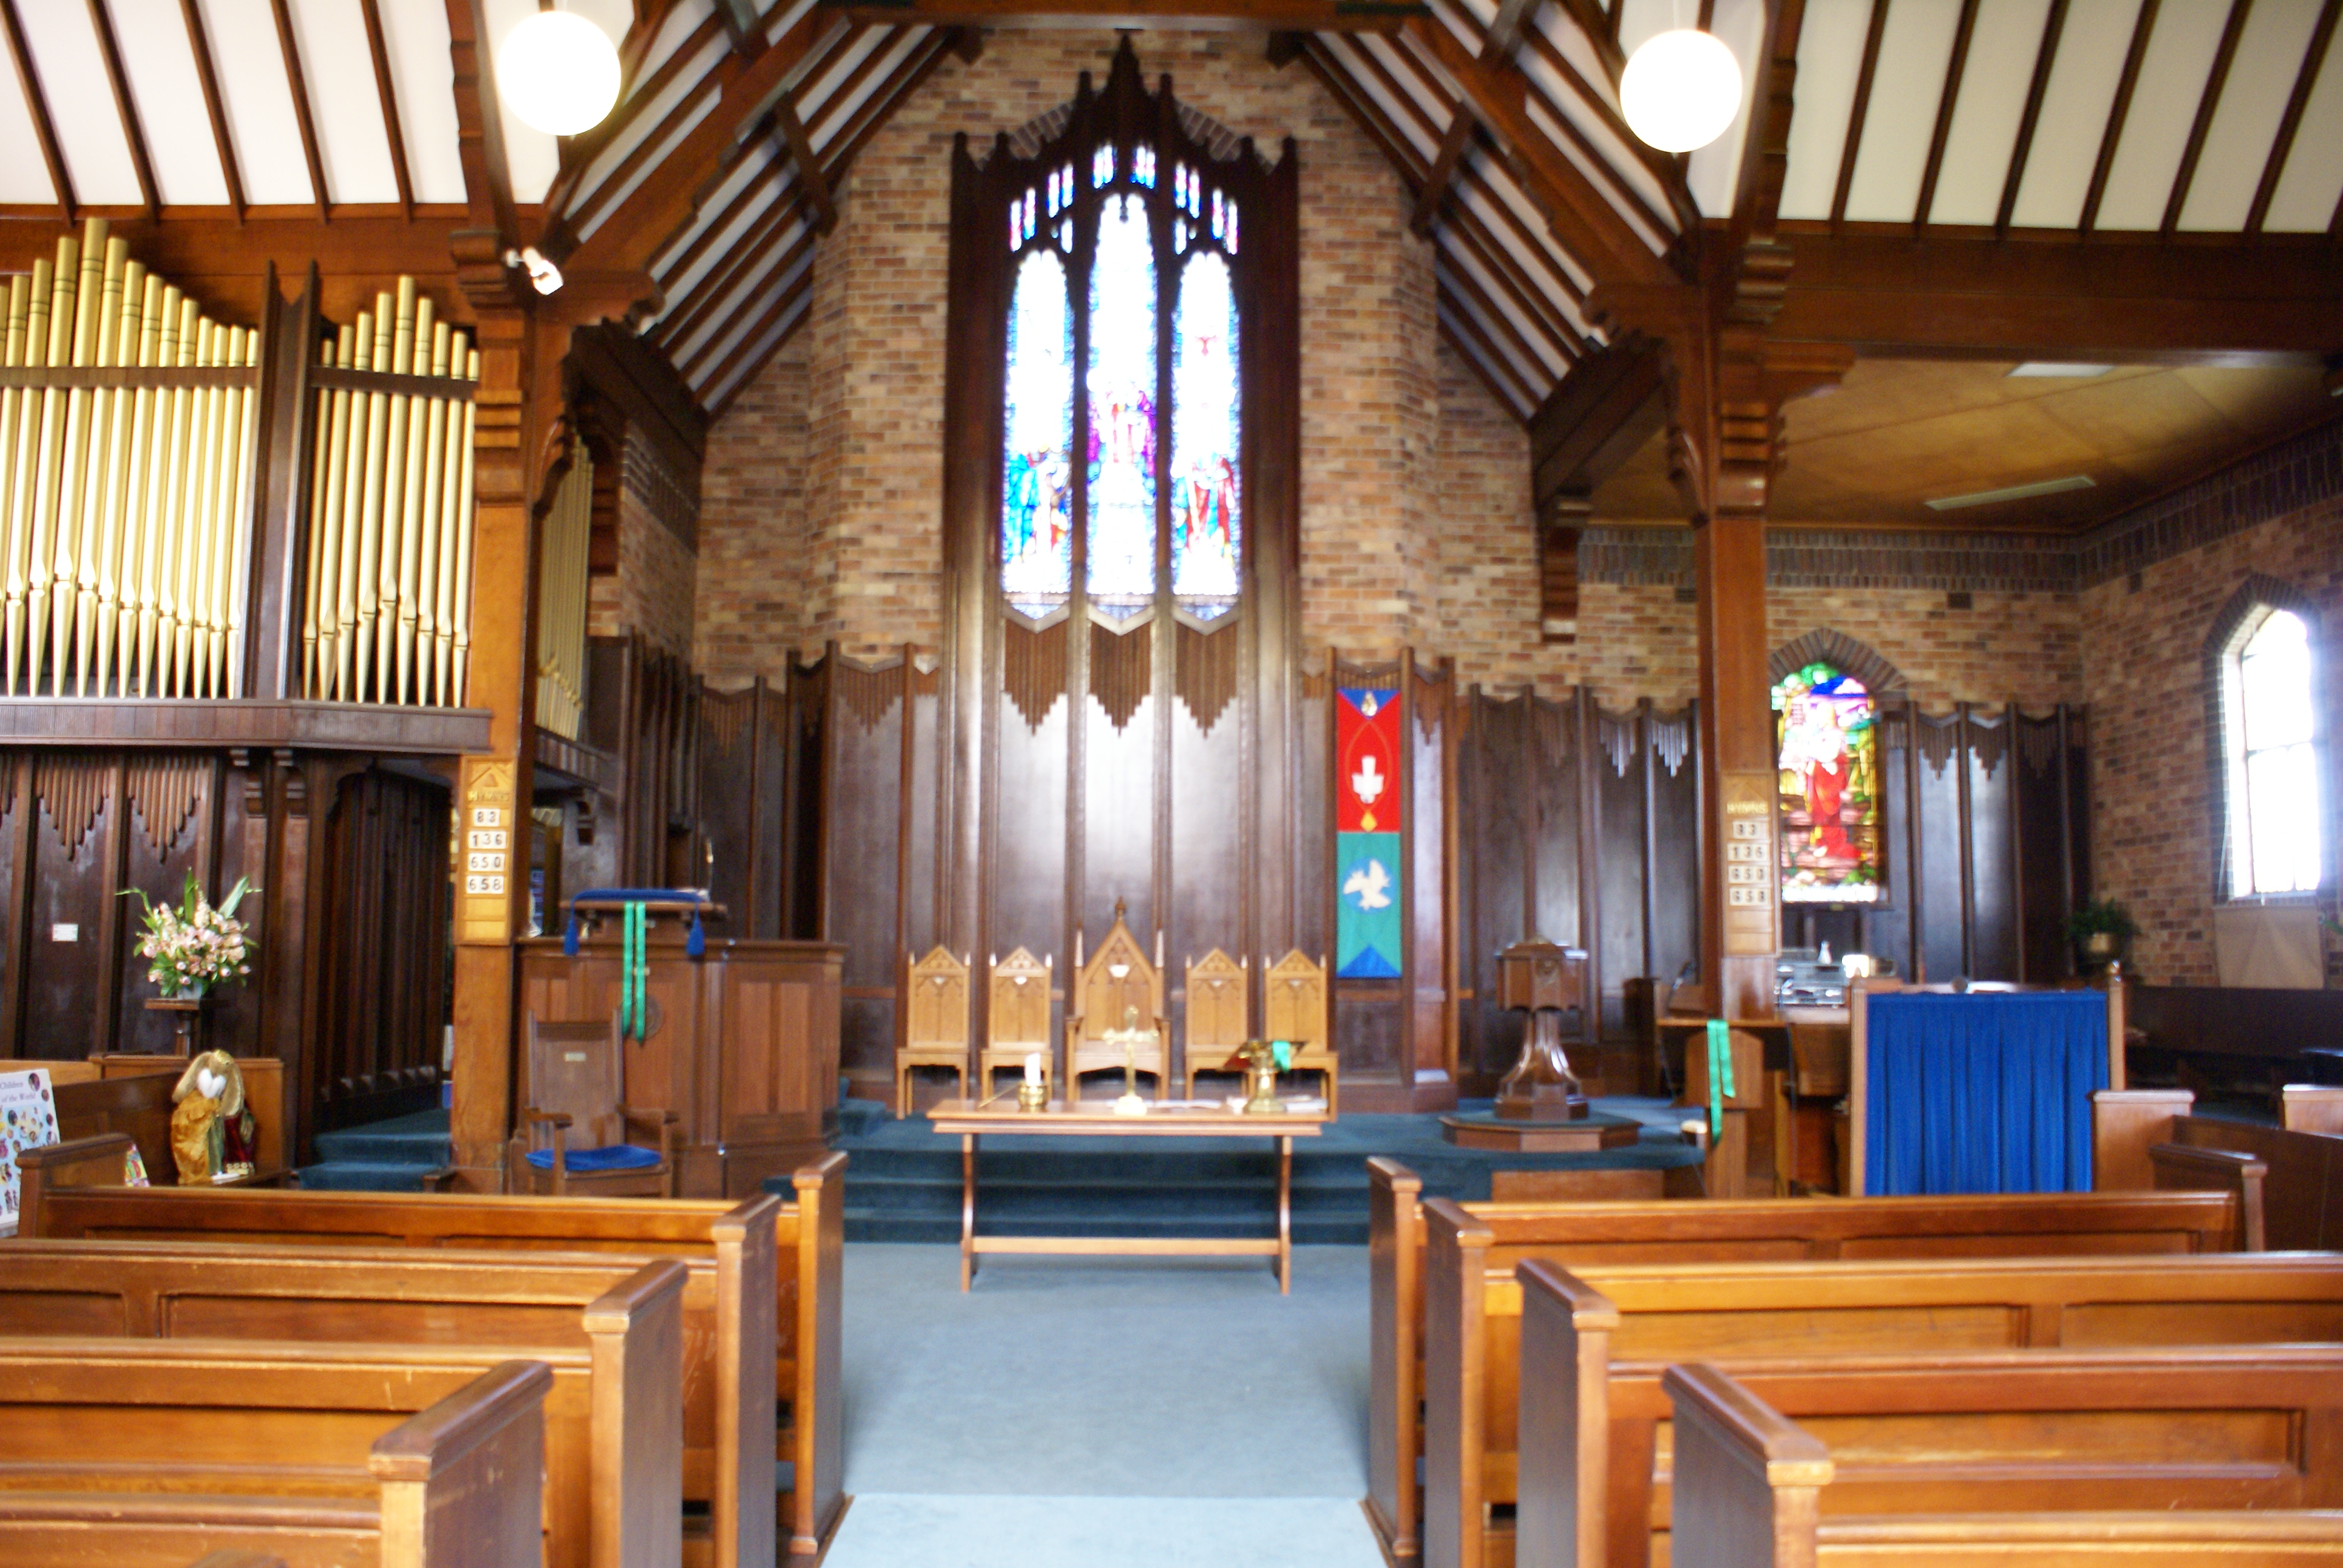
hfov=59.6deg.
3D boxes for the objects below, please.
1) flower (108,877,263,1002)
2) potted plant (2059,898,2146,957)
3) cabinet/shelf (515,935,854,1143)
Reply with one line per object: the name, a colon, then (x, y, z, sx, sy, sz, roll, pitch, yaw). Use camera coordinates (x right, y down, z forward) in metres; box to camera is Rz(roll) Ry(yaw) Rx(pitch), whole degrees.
flower: (-5.992, 0.994, 12.583, 0.727, 0.727, 0.730, 3, -8, -24)
potted plant: (7.996, 1.230, 17.613, 0.449, 0.476, 0.456, 1, 0, -21)
cabinet/shelf: (-3.001, 1.601, 13.073, 2.094, 1.594, 1.234, 1, -2, -8)
